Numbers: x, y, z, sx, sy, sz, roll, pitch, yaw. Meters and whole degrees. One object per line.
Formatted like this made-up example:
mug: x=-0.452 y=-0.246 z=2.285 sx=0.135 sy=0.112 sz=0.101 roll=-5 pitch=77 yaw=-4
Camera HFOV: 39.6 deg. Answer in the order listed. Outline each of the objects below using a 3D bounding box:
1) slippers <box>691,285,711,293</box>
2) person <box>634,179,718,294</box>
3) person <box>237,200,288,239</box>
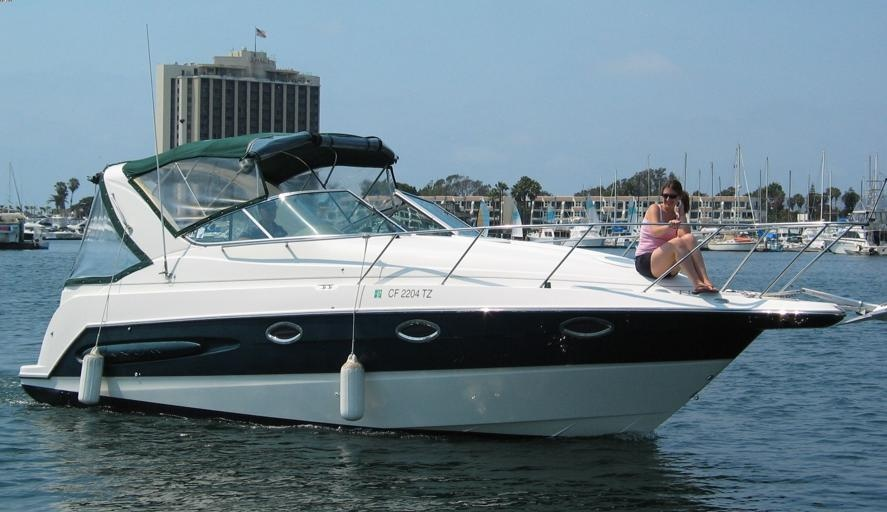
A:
slippers: x=4.168 y=0.539 z=19.798 sx=0.222 sy=0.088 sz=0.127 roll=-5 pitch=0 yaw=18
person: x=3.705 y=-0.325 z=20.053 sx=1.194 sy=1.949 sz=0.598 roll=-4 pitch=-5 yaw=7
person: x=-3.042 y=-0.607 z=20.685 sx=0.618 sy=0.734 sz=0.328 roll=-25 pitch=-3 yaw=-2
